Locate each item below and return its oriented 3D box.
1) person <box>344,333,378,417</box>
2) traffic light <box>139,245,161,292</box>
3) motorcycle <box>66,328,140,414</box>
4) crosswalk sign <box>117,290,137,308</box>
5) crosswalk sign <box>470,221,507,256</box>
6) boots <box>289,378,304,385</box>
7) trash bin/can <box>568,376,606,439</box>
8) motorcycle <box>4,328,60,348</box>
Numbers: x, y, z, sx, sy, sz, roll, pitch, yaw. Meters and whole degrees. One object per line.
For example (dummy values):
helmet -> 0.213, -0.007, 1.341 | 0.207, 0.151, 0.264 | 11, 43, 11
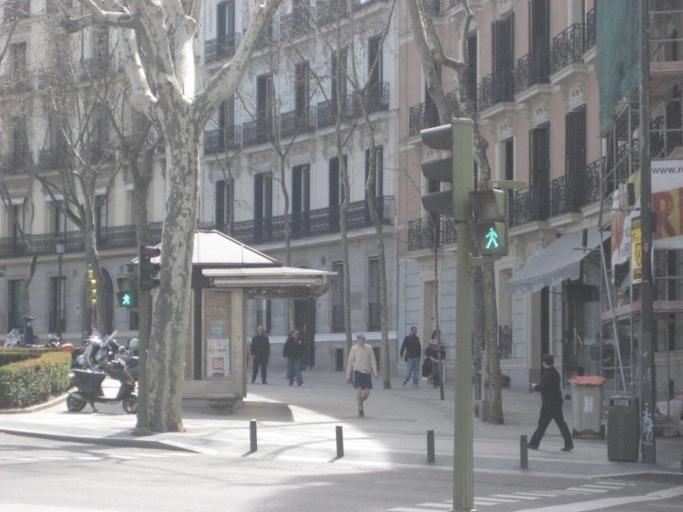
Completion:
person -> 0.601, 3.300, 49.247 | 0.804, 2.353, 0.694 | 0, 0, -17
traffic light -> -4.814, 0.260, 44.232 | 0.388, 1.131, 0.735 | -4, -10, 22
motorcycle -> -6.739, 3.345, 49.582 | 1.709, 2.844, 1.776 | 0, 1, 42
crosswalk sign -> -5.526, 1.073, 44.880 | 0.505, 0.549, 0.394 | 0, 0, 2
crosswalk sign -> 3.173, -0.383, 37.242 | 0.696, 0.766, 0.648 | 0, -2, -3
boots -> -1.461, 4.130, 57.706 | 0.469, 0.307, 0.191 | -2, -3, 5
trash bin/can -> 6.406, 3.834, 45.274 | 0.735, 1.687, 0.841 | -3, 0, -40
motorcycle -> -11.555, 3.047, 65.405 | 1.192, 0.479, 0.929 | 1, -6, 5
